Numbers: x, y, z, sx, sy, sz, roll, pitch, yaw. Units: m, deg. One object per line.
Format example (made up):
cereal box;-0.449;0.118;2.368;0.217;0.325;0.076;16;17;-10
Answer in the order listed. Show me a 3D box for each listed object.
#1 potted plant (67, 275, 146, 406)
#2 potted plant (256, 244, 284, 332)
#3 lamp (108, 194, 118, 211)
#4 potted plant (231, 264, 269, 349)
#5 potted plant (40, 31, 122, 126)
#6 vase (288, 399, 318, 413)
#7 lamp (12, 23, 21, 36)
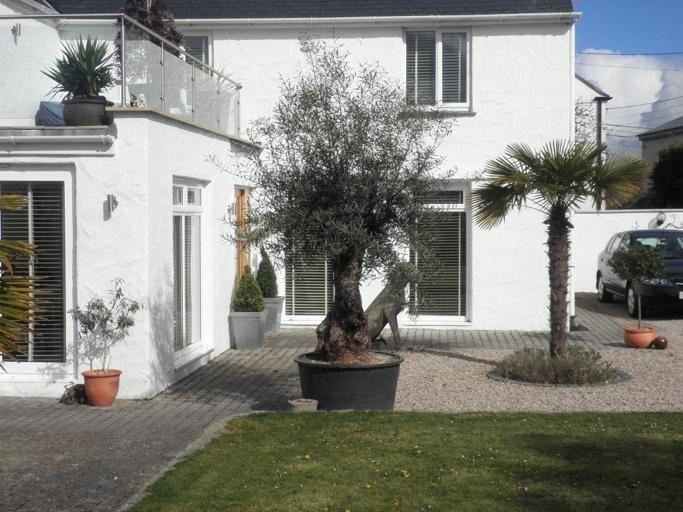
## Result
potted plant;-3.597;1.309;11.020;1.012;1.871;0.578;-3;7;-10
potted plant;-1.741;0.838;16.376;0.480;1.525;0.507;-11;3;-39
lamp;-3.495;-0.805;11.050;0.158;0.267;0.078;-4;7;-17
potted plant;-1.906;1.056;14.833;0.710;1.637;0.721;0;0;33
potted plant;-4.145;-2.792;11.532;1.118;1.414;0.673;-3;7;-12
vase;-0.544;2.110;10.178;0.398;0.128;0.224;-1;8;5
lamp;-5.195;-3.599;11.540;0.146;0.174;0.071;-3;7;-13
